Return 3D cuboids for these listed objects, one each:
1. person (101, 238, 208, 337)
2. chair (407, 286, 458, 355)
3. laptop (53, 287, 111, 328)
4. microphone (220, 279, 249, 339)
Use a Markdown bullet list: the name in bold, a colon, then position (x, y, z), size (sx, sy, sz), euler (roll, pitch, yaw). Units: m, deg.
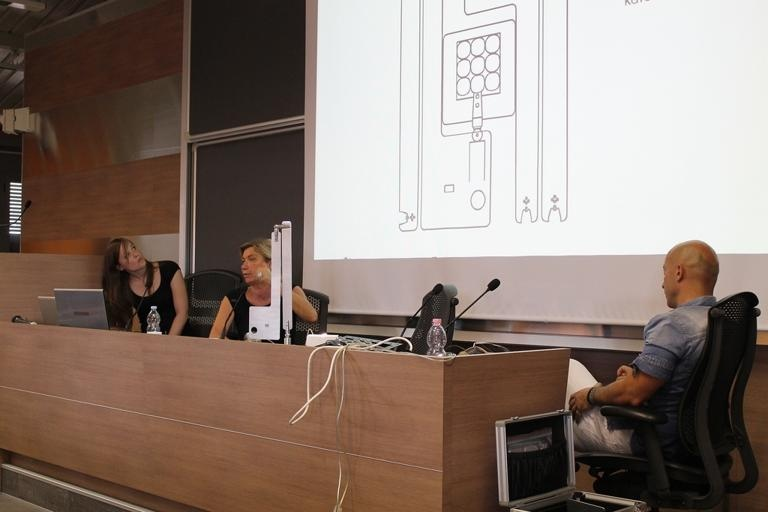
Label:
- **person**: position (-1.681, 0.261, 4.279), size (0.622, 0.970, 0.745), euler (-12, -2, -40)
- **chair**: position (0.283, 0.333, 3.045), size (0.257, 0.431, 0.353), euler (-5, -11, 44)
- **laptop**: position (-1.698, 0.296, 3.133), size (0.294, 0.211, 0.222), euler (1, 2, 20)
- **microphone**: position (-0.865, 0.327, 3.351), size (0.214, 0.325, 0.080), euler (-2, 0, 41)
